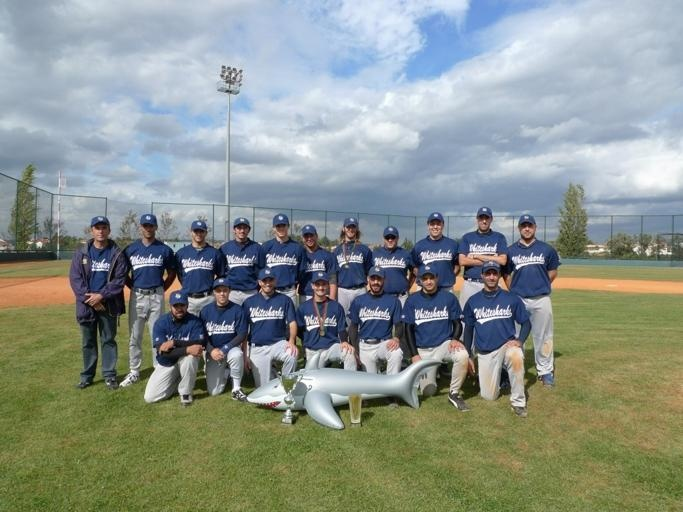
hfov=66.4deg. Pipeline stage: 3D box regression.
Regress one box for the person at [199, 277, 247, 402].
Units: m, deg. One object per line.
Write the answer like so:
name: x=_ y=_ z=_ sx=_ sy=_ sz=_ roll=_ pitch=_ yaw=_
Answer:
person: x=-1.800 y=1.254 z=8.007 sx=0.717 sy=1.757 sz=0.693 roll=-1 pitch=2 yaw=-12

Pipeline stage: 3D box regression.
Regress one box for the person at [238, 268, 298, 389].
person: x=-1.054 y=1.141 z=8.253 sx=0.975 sy=1.790 sz=0.581 roll=2 pitch=3 yaw=40

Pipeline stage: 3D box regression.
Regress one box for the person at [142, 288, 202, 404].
person: x=-2.475 y=1.353 z=7.845 sx=0.717 sy=1.586 sz=0.545 roll=0 pitch=2 yaw=8

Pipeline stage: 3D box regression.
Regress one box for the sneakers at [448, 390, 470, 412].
sneakers: x=1.708 y=2.093 z=7.617 sx=0.223 sy=0.204 sz=0.334 roll=-1 pitch=2 yaw=-14

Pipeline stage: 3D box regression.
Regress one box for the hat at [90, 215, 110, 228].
hat: x=-3.802 y=-0.508 z=8.237 sx=0.242 sy=0.158 sz=0.167 roll=-1 pitch=2 yaw=-18

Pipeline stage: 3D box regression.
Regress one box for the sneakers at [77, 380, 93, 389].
sneakers: x=-3.956 y=1.983 z=8.099 sx=0.087 sy=0.090 sz=0.209 roll=-8 pitch=-18 yaw=25

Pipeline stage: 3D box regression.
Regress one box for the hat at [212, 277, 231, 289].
hat: x=-1.873 y=0.440 z=8.181 sx=0.217 sy=0.143 sz=0.286 roll=-1 pitch=2 yaw=-19

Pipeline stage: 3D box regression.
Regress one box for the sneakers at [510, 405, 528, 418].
sneakers: x=2.493 y=2.169 z=7.361 sx=0.205 sy=0.104 sz=0.202 roll=1 pitch=2 yaw=18

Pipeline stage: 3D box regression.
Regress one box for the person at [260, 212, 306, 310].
person: x=-1.068 y=0.491 z=9.309 sx=0.900 sy=2.350 sz=0.547 roll=1 pitch=-2 yaw=-1

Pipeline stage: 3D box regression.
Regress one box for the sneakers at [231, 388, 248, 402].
sneakers: x=-1.518 y=2.093 z=7.858 sx=0.117 sy=0.140 sz=0.301 roll=8 pitch=-15 yaw=-39

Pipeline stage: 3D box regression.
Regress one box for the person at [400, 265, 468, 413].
person: x=1.431 y=1.184 z=8.010 sx=1.030 sy=1.986 sz=0.958 roll=1 pitch=2 yaw=17

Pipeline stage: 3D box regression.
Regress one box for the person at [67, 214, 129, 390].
person: x=-3.823 y=0.721 z=8.253 sx=0.794 sy=2.615 sz=0.554 roll=0 pitch=2 yaw=-1

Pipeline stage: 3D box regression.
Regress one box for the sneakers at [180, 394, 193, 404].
sneakers: x=-2.251 y=2.089 z=7.670 sx=0.190 sy=0.144 sz=0.196 roll=-1 pitch=2 yaw=-22

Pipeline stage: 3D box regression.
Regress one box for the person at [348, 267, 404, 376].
person: x=0.523 y=1.027 z=8.192 sx=0.830 sy=1.646 sz=0.611 roll=0 pitch=2 yaw=9

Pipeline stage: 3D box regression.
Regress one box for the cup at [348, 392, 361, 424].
cup: x=0.187 y=2.058 z=7.098 sx=0.159 sy=0.418 sz=0.282 roll=0 pitch=2 yaw=-1

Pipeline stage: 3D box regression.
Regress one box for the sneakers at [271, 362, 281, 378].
sneakers: x=-1.073 y=1.875 z=8.563 sx=0.107 sy=0.302 sz=0.211 roll=-15 pitch=-27 yaw=12

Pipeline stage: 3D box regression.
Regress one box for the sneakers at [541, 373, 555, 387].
sneakers: x=3.261 y=1.933 z=8.262 sx=0.230 sy=0.162 sz=0.327 roll=1 pitch=2 yaw=13

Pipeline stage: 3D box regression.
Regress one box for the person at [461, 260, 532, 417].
person: x=2.349 y=1.149 z=7.912 sx=1.013 sy=2.073 sz=1.014 roll=1 pitch=3 yaw=30

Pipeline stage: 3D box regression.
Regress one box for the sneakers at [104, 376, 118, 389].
sneakers: x=-3.558 y=1.966 z=8.158 sx=0.177 sy=0.161 sz=0.295 roll=-1 pitch=3 yaw=-31
